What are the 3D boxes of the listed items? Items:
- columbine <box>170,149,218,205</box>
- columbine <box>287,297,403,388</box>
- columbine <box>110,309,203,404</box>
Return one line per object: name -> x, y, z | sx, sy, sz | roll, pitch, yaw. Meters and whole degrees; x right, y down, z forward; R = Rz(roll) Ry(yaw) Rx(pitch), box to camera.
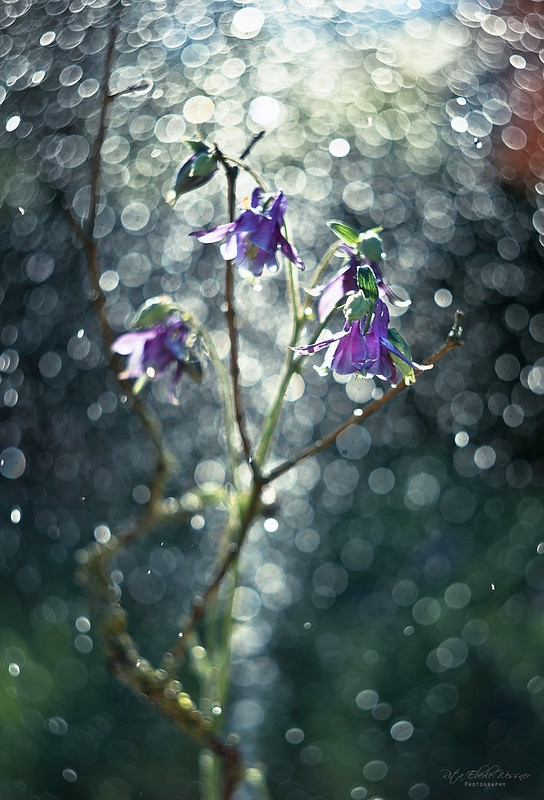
columbine -> -0.064, -0.186, 0.708 | 0.036, 0.021, 0.061 | -23, 4, 3
columbine -> 0.059, -0.044, 0.682 | 0.081, 0.050, 0.072 | 6, 27, 6
columbine -> -0.100, -0.041, 0.812 | 0.082, 0.078, 0.039 | 40, 16, 4
